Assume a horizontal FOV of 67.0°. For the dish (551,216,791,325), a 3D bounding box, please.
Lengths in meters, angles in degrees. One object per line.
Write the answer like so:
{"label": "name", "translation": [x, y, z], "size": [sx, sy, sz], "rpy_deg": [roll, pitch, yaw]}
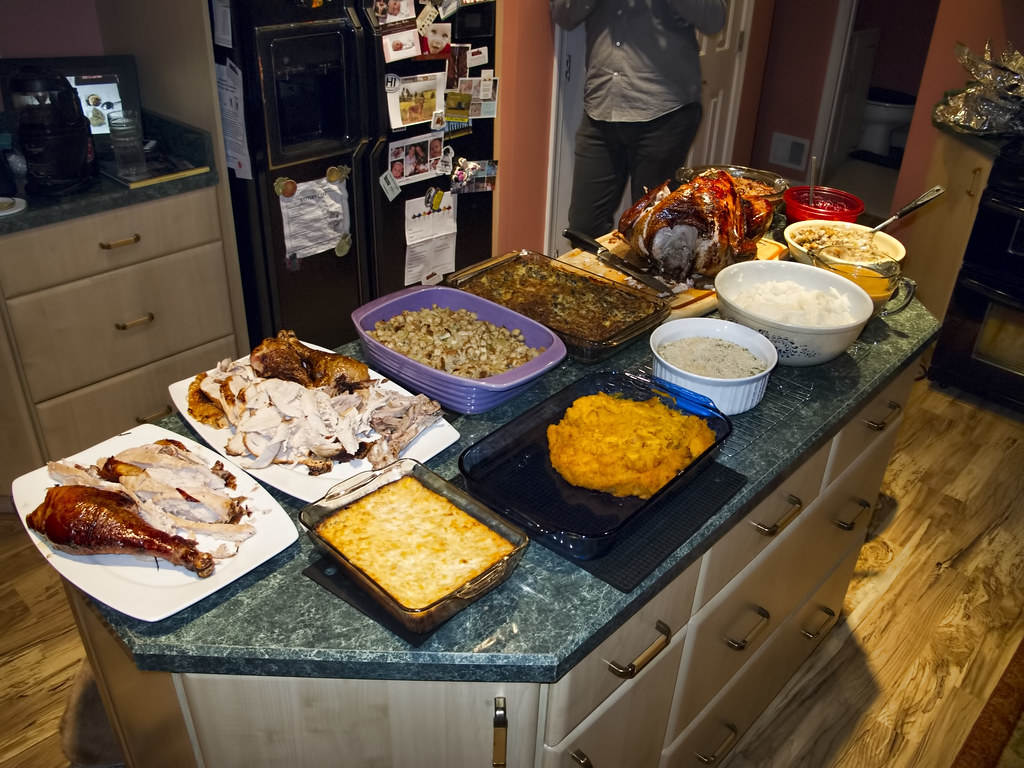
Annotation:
{"label": "dish", "translation": [0.643, -0.363, 2.866], "size": [0.555, 0.104, 0.942], "rpy_deg": [33, 17, 34]}

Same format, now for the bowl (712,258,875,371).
{"label": "bowl", "translation": [0.804, -0.180, 2.246], "size": [0.354, 0.164, 0.353], "rpy_deg": [1, 41, -1]}

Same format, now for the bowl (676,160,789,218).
{"label": "bowl", "translation": [0.936, -0.782, 2.977], "size": [0.329, 0.102, 0.308], "rpy_deg": [0, 36, 0]}

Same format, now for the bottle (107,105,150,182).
{"label": "bottle", "translation": [-1.566, -0.975, 3.143], "size": [0.131, 0.213, 0.324], "rpy_deg": [-13, 37, -22]}

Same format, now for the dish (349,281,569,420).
{"label": "dish", "translation": [-0.193, -0.094, 2.045], "size": [0.465, 0.114, 0.308], "rpy_deg": [25, 41, 21]}

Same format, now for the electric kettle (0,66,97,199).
{"label": "electric kettle", "translation": [-1.773, -0.960, 2.951], "size": [0.265, 0.419, 0.270], "rpy_deg": [-16, 37, -26]}

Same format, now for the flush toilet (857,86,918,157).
{"label": "flush toilet", "translation": [3.189, -2.280, 6.843], "size": [0.502, 0.414, 0.542], "rpy_deg": [-7, 34, -9]}

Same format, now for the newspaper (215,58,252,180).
{"label": "newspaper", "translation": [-1.138, -1.094, 3.143], "size": [0.037, 0.359, 0.308], "rpy_deg": [-25, 46, -37]}

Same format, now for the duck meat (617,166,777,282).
{"label": "duck meat", "translation": [0.598, -0.593, 2.478], "size": [0.372, 0.182, 0.448], "rpy_deg": [8, 43, 37]}

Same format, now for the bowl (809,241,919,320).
{"label": "bowl", "translation": [1.048, -0.281, 2.350], "size": [0.315, 0.151, 0.255], "rpy_deg": [14, 4, 22]}

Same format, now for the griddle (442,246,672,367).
{"label": "griddle", "translation": [0.148, -0.255, 2.313], "size": [0.519, 0.093, 0.353], "rpy_deg": [27, 44, 33]}

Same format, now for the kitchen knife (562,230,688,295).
{"label": "kitchen knife", "translation": [0.374, -0.386, 2.503], "size": [0.063, 0.037, 0.444], "rpy_deg": [-6, 30, -30]}

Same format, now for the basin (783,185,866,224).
{"label": "basin", "translation": [1.117, -0.640, 2.781], "size": [0.219, 0.083, 0.216], "rpy_deg": [0, 39, 0]}

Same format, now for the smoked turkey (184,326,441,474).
{"label": "smoked turkey", "translation": [-0.475, 0.048, 1.800], "size": [0.413, 0.091, 0.371], "rpy_deg": [28, 47, 25]}

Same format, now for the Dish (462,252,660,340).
{"label": "Dish", "translation": [0.161, -0.264, 2.325], "size": [0.477, 0.068, 0.301], "rpy_deg": [27, 42, 32]}

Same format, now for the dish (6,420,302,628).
{"label": "dish", "translation": [-0.749, 0.274, 1.607], "size": [0.543, 0.154, 0.401], "rpy_deg": [29, 42, 34]}

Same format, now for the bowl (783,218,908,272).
{"label": "bowl", "translation": [1.045, -0.446, 2.449], "size": [0.256, 0.094, 0.252], "rpy_deg": [1, 34, -1]}

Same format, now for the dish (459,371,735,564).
{"label": "dish", "translation": [0.205, 0.159, 1.751], "size": [0.404, 0.114, 0.660], "rpy_deg": [23, 38, 36]}

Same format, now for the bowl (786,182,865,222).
{"label": "bowl", "translation": [1.127, -0.642, 2.789], "size": [0.216, 0.082, 0.215], "rpy_deg": [0, 39, 0]}

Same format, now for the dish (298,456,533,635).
{"label": "dish", "translation": [-0.201, 0.318, 1.570], "size": [0.425, 0.099, 0.333], "rpy_deg": [28, 35, 36]}
